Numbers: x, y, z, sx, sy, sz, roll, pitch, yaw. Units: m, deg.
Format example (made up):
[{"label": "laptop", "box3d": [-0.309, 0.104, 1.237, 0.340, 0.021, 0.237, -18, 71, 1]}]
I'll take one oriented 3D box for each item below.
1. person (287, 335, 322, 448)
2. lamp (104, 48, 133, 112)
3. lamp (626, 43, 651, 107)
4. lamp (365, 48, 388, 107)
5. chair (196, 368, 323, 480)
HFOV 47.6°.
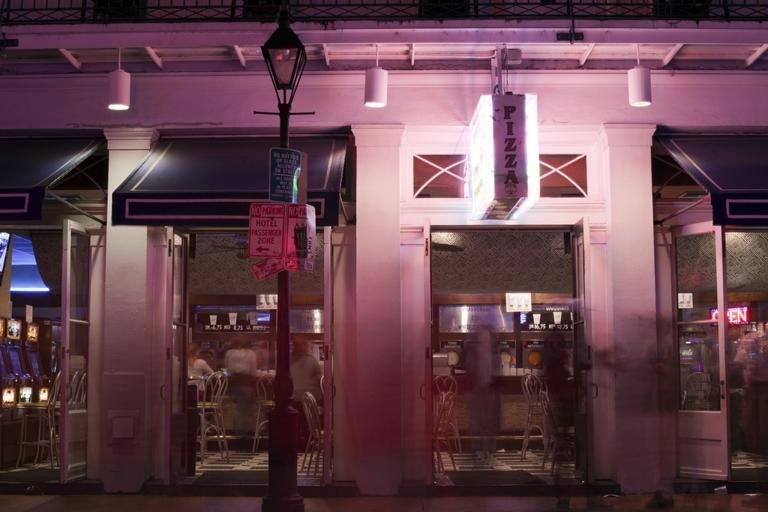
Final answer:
[{"label": "person", "box3d": [-1.398, 2.459, 15.522, 0.671, 2.076, 0.567, -2, 12, -8]}, {"label": "lamp", "box3d": [-3.885, -2.637, 12.751, 0.326, 0.940, 0.501, 1, -10, -17]}, {"label": "lamp", "box3d": [3.672, -2.661, 12.584, 0.297, 0.993, 0.570, -4, -9, 13]}, {"label": "lamp", "box3d": [-0.129, -2.653, 12.667, 0.341, 0.919, 0.506, -1, -9, -2]}, {"label": "chair", "box3d": [-2.583, 2.948, 15.294, 2.114, 1.877, 1.214, -1, -3, 0]}]
